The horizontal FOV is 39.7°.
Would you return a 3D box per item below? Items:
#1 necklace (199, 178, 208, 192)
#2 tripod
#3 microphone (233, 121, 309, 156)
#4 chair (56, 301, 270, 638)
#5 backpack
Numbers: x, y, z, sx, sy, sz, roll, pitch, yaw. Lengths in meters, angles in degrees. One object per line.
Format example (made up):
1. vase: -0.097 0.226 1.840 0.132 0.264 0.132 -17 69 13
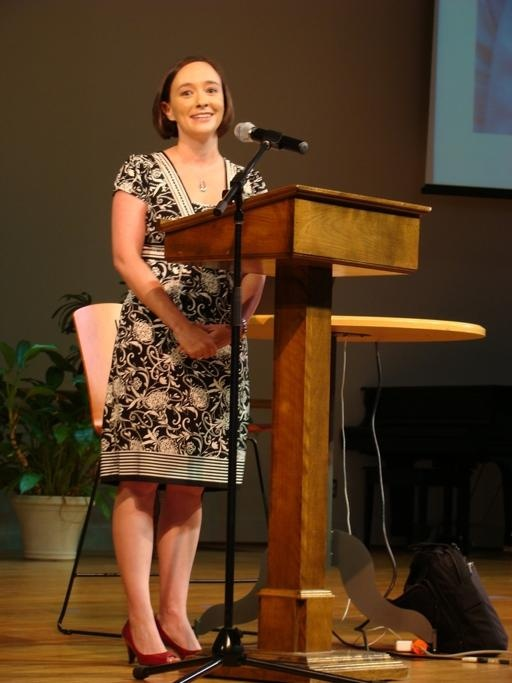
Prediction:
1. necklace: -0.101 -0.305 1.379 0.018 0.021 0.005 -5 -2 -16
2. tripod: -0.009 0.141 1.090 0.322 0.946 0.368 1 8 -15
3. microphone: 0.006 -0.347 1.198 0.199 0.048 0.055 19 27 39
4. chair: -0.227 0.306 1.782 0.602 0.786 0.534 -1 -3 -1
5. backpack: 0.465 0.621 1.698 0.275 0.224 0.202 -6 -15 11
